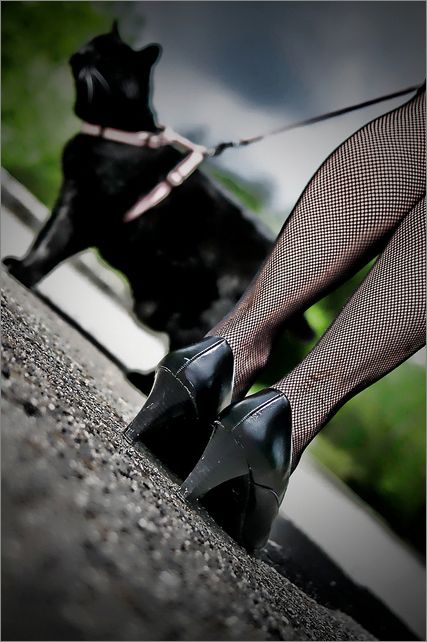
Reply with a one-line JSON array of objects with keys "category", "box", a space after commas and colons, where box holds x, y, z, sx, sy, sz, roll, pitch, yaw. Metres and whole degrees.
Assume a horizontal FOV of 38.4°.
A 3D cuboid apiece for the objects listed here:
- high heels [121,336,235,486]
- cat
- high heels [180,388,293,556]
[{"category": "high heels", "box": [-0.019, 0.128, 0.848, 0.099, 0.114, 0.284, 25, -2, 10]}, {"category": "cat", "box": [-0.167, -0.163, 1.538, 0.481, 0.582, 0.972, 13, -63, 49]}, {"category": "high heels", "box": [0.075, 0.218, 0.845, 0.132, 0.143, 0.244, 33, -18, 20]}]
